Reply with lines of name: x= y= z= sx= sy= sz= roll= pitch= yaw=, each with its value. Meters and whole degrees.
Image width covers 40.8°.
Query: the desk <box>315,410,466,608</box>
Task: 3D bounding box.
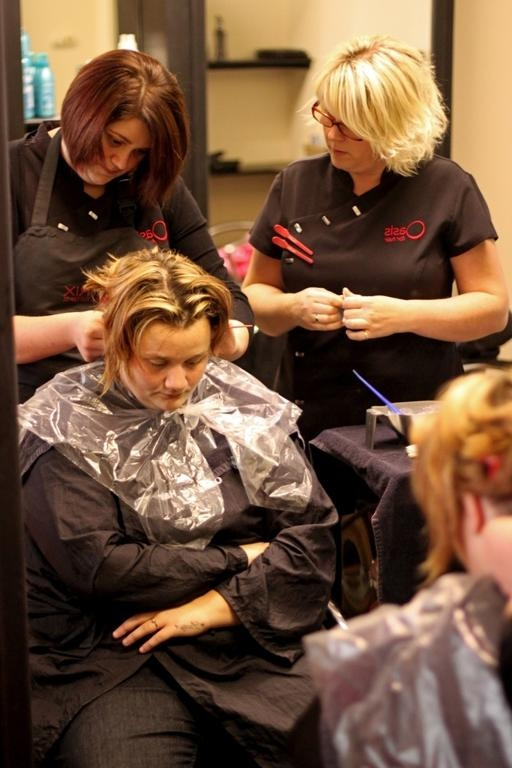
desk: x=0.248 y=0.233 z=1.483 sx=0.372 sy=0.299 sz=0.350 roll=-6 pitch=15 yaw=-11

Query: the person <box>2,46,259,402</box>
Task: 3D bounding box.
person: x=-0.320 y=-0.270 z=1.490 sx=0.576 sy=0.847 sz=0.490 roll=-2 pitch=34 yaw=-22

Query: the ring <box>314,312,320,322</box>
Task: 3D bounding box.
ring: x=0.142 y=-0.157 z=1.617 sx=0.015 sy=0.018 sz=0.021 roll=-9 pitch=-7 yaw=-6
